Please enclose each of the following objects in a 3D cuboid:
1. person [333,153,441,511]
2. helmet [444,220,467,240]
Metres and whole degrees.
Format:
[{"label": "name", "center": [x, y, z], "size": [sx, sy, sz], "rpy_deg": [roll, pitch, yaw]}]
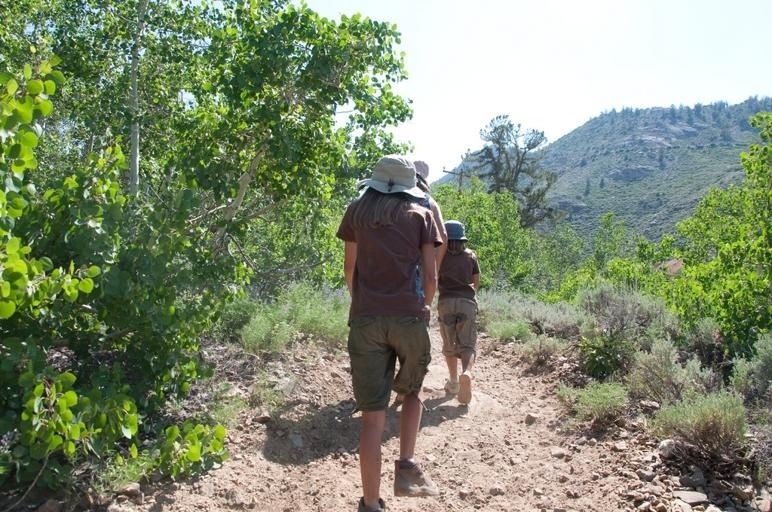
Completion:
[{"label": "person", "center": [0.017, 0.861, 7.527], "size": [1.088, 3.869, 1.227], "rpy_deg": [-1, 13, -5]}, {"label": "helmet", "center": [1.060, -0.395, 10.169], "size": [0.314, 0.203, 0.319], "rpy_deg": [1, 2, 21]}]
